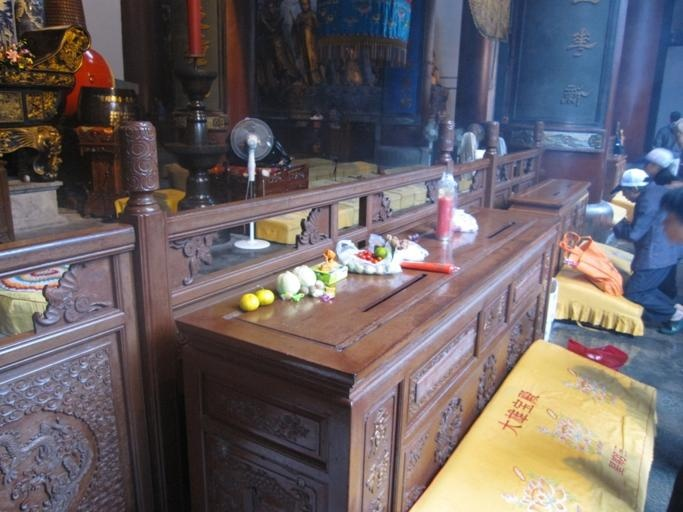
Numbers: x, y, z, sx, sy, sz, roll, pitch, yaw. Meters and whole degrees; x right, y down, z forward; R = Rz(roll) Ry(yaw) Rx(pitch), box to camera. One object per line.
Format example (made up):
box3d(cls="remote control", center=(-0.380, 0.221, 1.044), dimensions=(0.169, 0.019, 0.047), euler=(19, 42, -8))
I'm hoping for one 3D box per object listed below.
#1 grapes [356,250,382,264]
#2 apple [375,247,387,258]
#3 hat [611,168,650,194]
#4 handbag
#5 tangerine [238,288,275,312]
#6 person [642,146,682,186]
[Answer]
box3d(cls="grapes", center=(0.132, 0.000, 2.406), dimensions=(0.103, 0.025, 0.061), euler=(25, 30, 22))
box3d(cls="apple", center=(0.193, -0.022, 2.384), dimensions=(0.051, 0.054, 0.053), euler=(4, 14, 13))
box3d(cls="hat", center=(3.101, -0.797, 5.169), dimensions=(0.334, 0.200, 0.234), euler=(7, 29, 42))
box3d(cls="handbag", center=(2.568, 0.093, 4.962), dimensions=(0.622, 0.180, 0.409), euler=(45, 42, 0))
box3d(cls="tangerine", center=(-0.362, 0.170, 1.985), dimensions=(0.077, 0.060, 0.127), euler=(14, 21, 31))
box3d(cls="person", center=(3.066, -0.855, 4.597), dimensions=(0.273, 0.332, 0.717), euler=(14, 23, 32))
